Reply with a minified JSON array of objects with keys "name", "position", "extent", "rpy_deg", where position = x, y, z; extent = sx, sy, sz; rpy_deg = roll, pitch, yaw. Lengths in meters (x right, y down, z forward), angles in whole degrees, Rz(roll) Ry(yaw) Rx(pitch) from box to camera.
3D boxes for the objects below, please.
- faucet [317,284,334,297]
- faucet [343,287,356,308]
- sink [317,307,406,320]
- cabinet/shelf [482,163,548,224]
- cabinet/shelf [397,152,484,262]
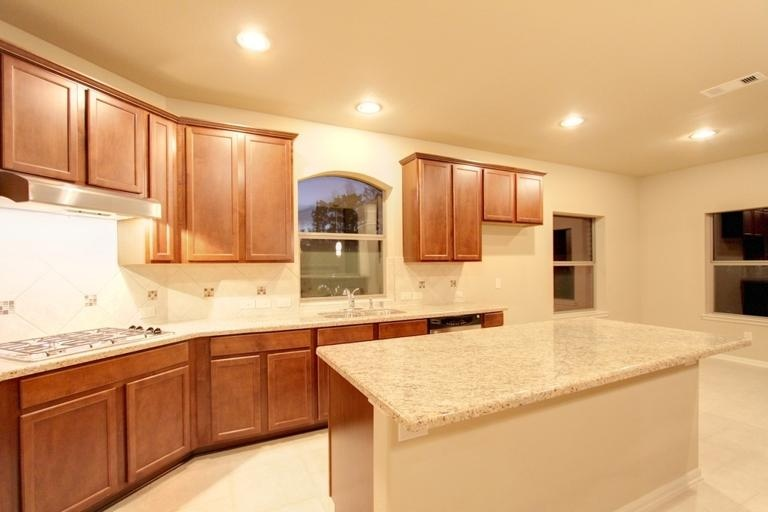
[{"name":"faucet","position":[-0.644,0.371,5.610],"extent":[0.167,0.131,0.038],"rpy_deg":[0,0,-35]},{"name":"faucet","position":[-0.366,0.457,5.612],"extent":[0.140,0.219,0.274],"rpy_deg":[-1,-1,-11]},{"name":"sink","position":[-0.228,0.595,5.435],"extent":[0.941,0.093,0.361],"rpy_deg":[0,-1,-19]},{"name":"cabinet/shelf","position":[1.514,-0.726,6.082],"extent":[0.895,0.530,0.280],"rpy_deg":[3,-5,-31]},{"name":"cabinet/shelf","position":[0.610,-0.521,5.731],"extent":[1.314,1.476,0.550],"rpy_deg":[2,-3,-29]}]
